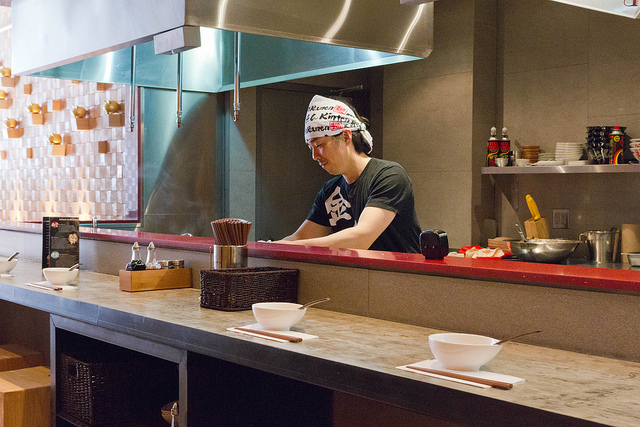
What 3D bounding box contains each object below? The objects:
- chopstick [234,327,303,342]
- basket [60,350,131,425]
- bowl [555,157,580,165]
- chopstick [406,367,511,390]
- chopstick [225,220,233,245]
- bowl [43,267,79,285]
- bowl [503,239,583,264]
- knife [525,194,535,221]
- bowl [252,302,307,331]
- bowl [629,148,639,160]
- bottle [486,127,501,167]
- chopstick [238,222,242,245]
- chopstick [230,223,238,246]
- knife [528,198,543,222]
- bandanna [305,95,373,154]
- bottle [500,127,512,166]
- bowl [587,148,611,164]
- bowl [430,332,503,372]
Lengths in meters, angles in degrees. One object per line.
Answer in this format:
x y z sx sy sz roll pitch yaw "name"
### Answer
-0.173 0.396 1.633 0.152 0.012 0.016 9 -3 40 "chopstick"
-1.104 0.776 2.406 0.332 0.241 0.336 2 -2 45 "basket"
1.992 -0.424 4.017 0.168 0.046 0.084 -1 9 25 "bowl"
0.346 0.415 1.266 0.259 0.016 0.022 0 9 29 "chopstick"
-0.397 0.069 2.176 0.012 0.079 0.011 -6 15 -1 "chopstick"
-1.291 0.312 2.483 0.091 0.043 0.091 1 3 0 "bowl"
1.039 0.176 2.318 0.286 0.106 0.102 -1 9 22 "bowl"
1.704 -0.055 4.038 0.068 0.246 0.047 -1 32 38 "knife"
-0.147 0.361 1.725 0.176 0.080 0.176 2 -22 1 "bowl"
2.349 -0.444 3.720 0.043 0.087 0.093 -1 9 24 "bowl"
1.513 -0.575 4.340 0.111 0.327 0.215 -2 9 19 "bottle"
-0.350 0.089 2.184 0.011 0.094 0.013 1 10 32 "chopstick"
-0.375 0.088 2.175 0.021 0.098 0.020 -4 24 5 "chopstick"
1.737 -0.033 4.011 0.060 0.209 0.046 -4 37 20 "knife"
0.103 -0.519 2.860 0.322 0.198 0.226 7 0 -12 "bandanna"
1.641 -0.588 4.404 0.096 0.325 0.319 -1 9 21 "bottle"
2.156 -0.442 3.864 0.125 0.085 0.118 1 0 0 "bowl"
0.374 0.358 1.308 0.152 0.054 0.095 9 -11 -34 "bowl"
